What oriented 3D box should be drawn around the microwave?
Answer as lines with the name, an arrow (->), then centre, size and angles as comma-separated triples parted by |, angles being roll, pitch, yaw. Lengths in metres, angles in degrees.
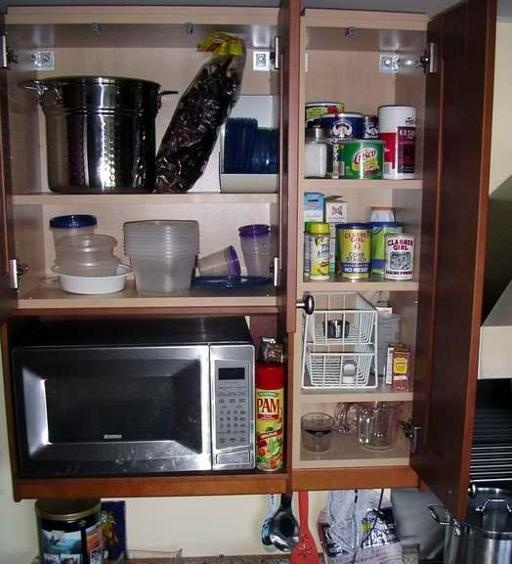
microwave -> -0.268, 0.233, 1.292 | 0.504, 0.322, 0.278 | 0, 20, -8

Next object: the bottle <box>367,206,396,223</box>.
bottle -> 0.301, -0.161, 1.344 | 0.047, 0.045, 0.047 | 4, -3, -15

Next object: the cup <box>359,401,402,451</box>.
cup -> 0.309, 0.360, 1.425 | 0.093, 0.102, 0.091 | 1, -5, 0

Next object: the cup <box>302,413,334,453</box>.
cup -> 0.153, 0.375, 1.382 | 0.069, 0.064, 0.075 | 1, -1, 0

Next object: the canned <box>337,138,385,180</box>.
canned -> 0.227, -0.275, 1.240 | 0.096, 0.082, 0.096 | -10, 17, -23

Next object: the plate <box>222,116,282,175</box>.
plate -> -0.012, -0.297, 1.219 | 0.137, 0.134, 0.068 | 1, -1, -2

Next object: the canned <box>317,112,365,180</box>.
canned -> 0.197, -0.309, 1.262 | 0.083, 0.133, 0.084 | -3, 7, -11

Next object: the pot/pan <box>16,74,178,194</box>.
pot/pan -> -0.329, -0.309, 1.205 | 0.330, 0.221, 0.232 | -6, 15, -31

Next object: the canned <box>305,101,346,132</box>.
canned -> 0.149, -0.362, 1.242 | 0.070, 0.045, 0.070 | -4, 11, -14
